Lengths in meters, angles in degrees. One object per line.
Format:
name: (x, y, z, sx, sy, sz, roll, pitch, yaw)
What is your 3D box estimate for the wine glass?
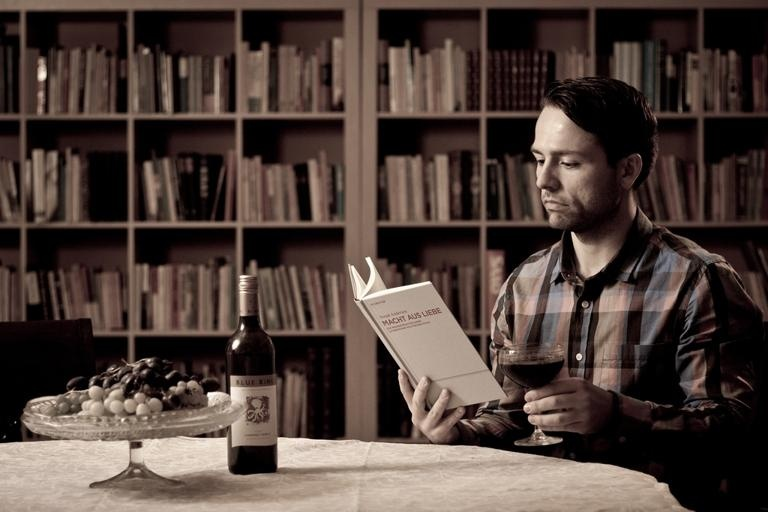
wine glass: (0.450, 0.426, 2.577, 0.178, 0.329, 0.160, -2, 1, 22)

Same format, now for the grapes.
grapes: (-0.725, 0.359, 2.364, 0.465, 0.134, 0.135, -2, 1, 3)
